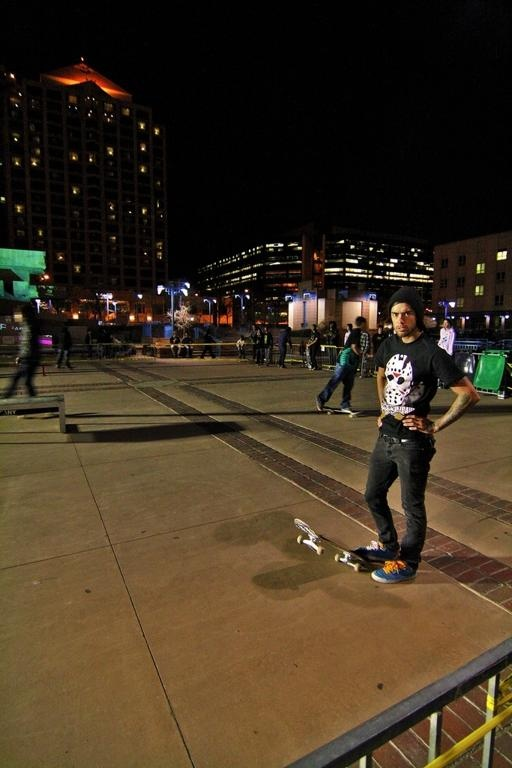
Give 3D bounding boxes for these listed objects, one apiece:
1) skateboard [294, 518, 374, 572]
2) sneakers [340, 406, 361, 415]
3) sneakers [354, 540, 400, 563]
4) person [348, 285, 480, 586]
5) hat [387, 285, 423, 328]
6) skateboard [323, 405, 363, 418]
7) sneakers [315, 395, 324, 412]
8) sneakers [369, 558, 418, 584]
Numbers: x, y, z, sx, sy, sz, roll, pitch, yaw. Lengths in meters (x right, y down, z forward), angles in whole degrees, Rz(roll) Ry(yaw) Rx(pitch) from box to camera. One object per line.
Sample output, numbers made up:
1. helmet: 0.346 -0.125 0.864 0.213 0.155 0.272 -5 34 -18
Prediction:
1. skateboard: 0.497 1.126 3.672 0.726 0.204 0.112 14 51 48
2. sneakers: 1.676 0.478 9.087 0.129 0.162 0.344 -1 1 -33
3. sneakers: 0.812 1.150 3.517 0.321 0.142 0.113 1 -4 33
4. person: 0.980 0.340 3.232 0.491 1.888 0.685 -2 8 -15
5. hat: 0.965 -0.482 3.299 0.211 0.279 0.283 4 -5 44
6. skateboard: 1.536 0.512 9.193 0.793 0.139 0.225 2 4 42
7. sneakers: 1.164 0.343 9.323 0.132 0.309 0.104 12 -42 -28
8. sneakers: 0.887 1.220 3.322 0.312 0.140 0.126 1 -1 -4
